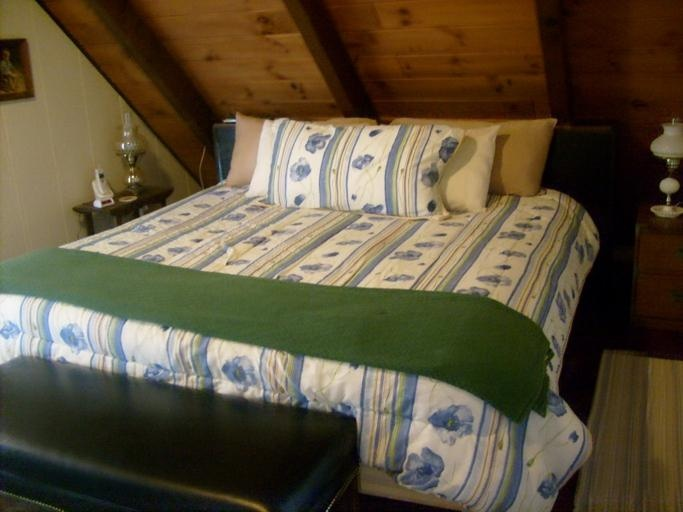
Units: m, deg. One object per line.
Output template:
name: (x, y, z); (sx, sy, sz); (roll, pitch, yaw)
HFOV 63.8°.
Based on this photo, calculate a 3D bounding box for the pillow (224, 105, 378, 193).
pillow: (-0.202, -0.571, 2.952); (0.703, 0.422, 0.189); (5, 3, 13)
